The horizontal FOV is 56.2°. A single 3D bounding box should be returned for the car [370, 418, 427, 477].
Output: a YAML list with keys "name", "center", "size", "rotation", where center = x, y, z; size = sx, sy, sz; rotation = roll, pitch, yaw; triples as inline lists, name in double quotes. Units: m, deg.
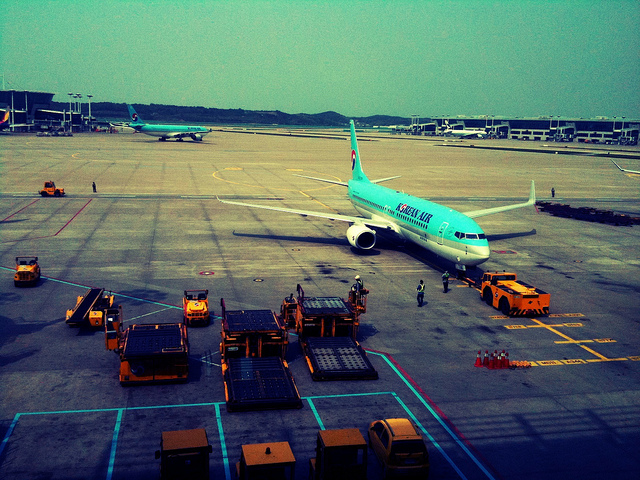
- name: "car"
  center: [3.941, 10.178, 29.384]
  size: [1.939, 1.921, 2.532]
  rotation: [-6, 15, -14]

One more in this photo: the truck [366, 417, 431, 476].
- name: "truck"
  center: [3.867, 10.023, 29.677]
  size: [2.257, 1.312, 3.182]
  rotation: [0, 11, -10]

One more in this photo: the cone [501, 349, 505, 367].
- name: "cone"
  center: [11.792, 7.649, 38.487]
  size: [0.198, 0.950, 0.457]
  rotation: [1, 17, 14]

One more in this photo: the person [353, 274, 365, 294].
- name: "person"
  center: [2.965, 3.381, 45.382]
  size: [0.618, 1.423, 1.484]
  rotation: [5, 12, 13]

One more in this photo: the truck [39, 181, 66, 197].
- name: "truck"
  center: [-39.152, -7.329, 87.475]
  size: [3.800, 1.728, 2.148]
  rotation: [-2, 8, -7]

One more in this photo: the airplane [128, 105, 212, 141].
- name: "airplane"
  center: [-57.453, -43.608, 225.251]
  size: [25.869, 13.173, 11.299]
  rotation: [-2, 15, 0]

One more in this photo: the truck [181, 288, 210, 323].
- name: "truck"
  center: [-8.857, 4.725, 43.532]
  size: [2.041, 1.696, 3.461]
  rotation: [-1, 5, -15]

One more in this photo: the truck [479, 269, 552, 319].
- name: "truck"
  center: [15.530, 4.221, 47.704]
  size: [3.355, 1.873, 5.099]
  rotation: [-3, 14, -14]
